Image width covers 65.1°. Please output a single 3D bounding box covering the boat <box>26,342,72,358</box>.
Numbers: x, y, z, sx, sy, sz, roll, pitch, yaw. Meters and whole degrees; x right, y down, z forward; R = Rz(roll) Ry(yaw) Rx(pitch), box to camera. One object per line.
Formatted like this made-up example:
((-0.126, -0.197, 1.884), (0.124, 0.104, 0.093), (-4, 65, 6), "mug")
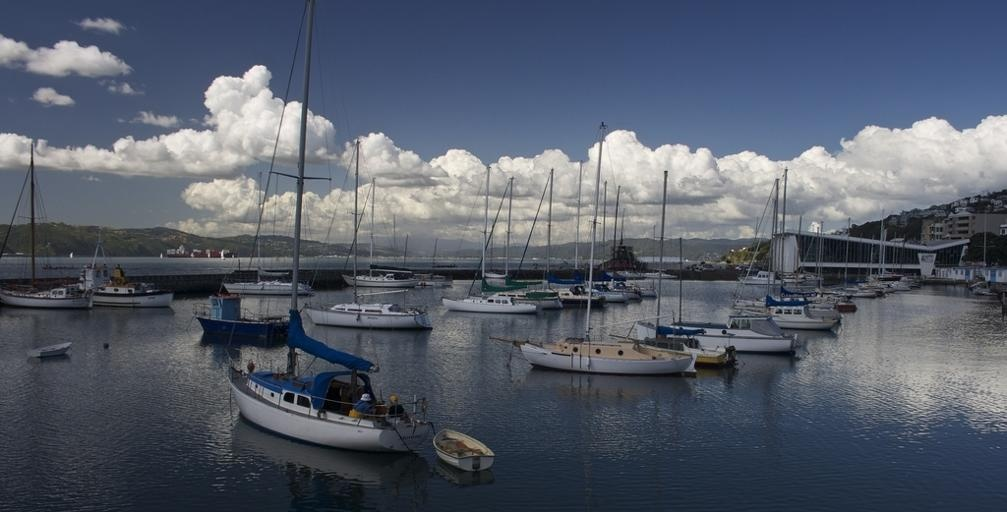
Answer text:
((-50.705, 10.752, 88.089), (4.133, 1.042, 1.573), (-5, 21, -17), "boat")
